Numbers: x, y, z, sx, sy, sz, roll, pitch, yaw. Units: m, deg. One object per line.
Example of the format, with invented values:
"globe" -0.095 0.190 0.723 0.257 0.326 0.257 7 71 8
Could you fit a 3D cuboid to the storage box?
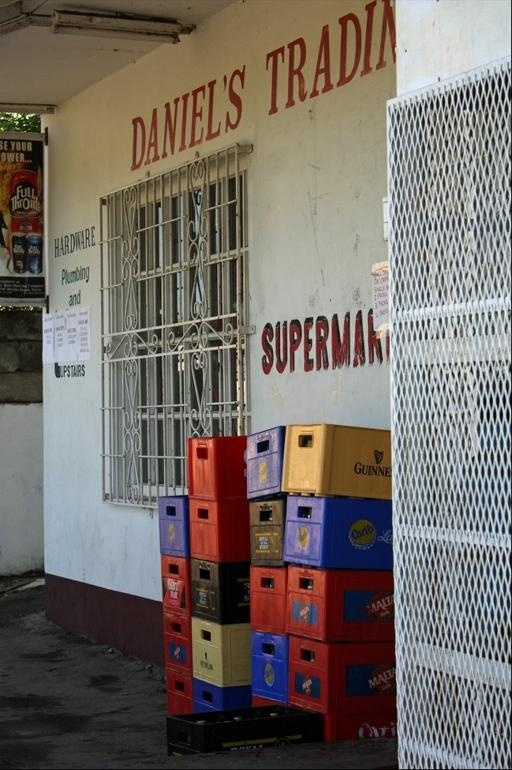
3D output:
"storage box" -0.024 0.916 4.574 0.776 1.438 1.457 1 -4 -38
